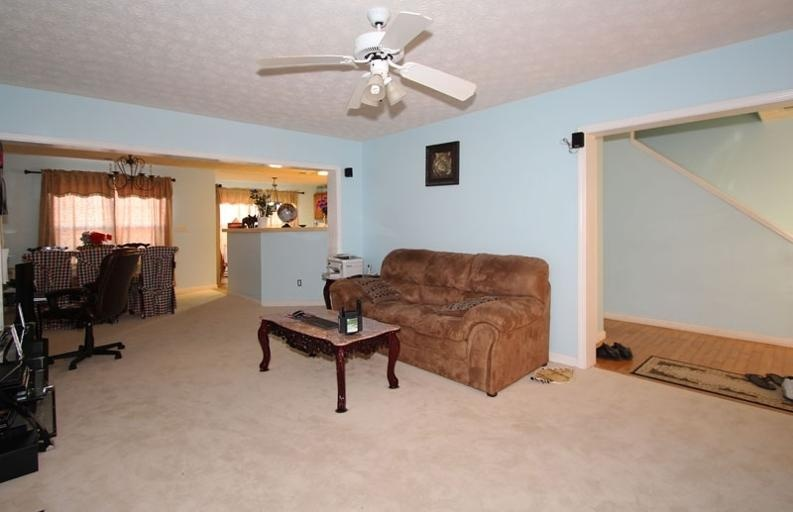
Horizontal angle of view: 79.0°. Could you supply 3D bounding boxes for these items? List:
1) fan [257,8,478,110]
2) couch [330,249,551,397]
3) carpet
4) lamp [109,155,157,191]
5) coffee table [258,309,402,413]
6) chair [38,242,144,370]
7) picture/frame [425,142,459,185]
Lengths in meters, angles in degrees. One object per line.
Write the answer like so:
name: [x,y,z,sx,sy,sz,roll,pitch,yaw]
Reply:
fan: [-0.095,-1.710,4.319,1.598,0.744,1.706,2,6,12]
couch: [0.428,0.610,5.892,1.305,1.225,2.692,-10,11,-41]
carpet: [3.270,1.288,5.000,1.313,0.166,0.687,4,7,32]
lamp: [-4.770,-1.532,8.598,0.628,0.556,0.592,2,3,9]
coffee table: [-0.750,0.999,5.165,1.414,0.616,0.920,9,10,40]
chair: [-3.767,0.574,6.101,1.430,1.884,1.268,2,-2,-33]
picture/frame: [0.605,-1.213,6.275,0.638,0.598,0.067,1,1,42]
